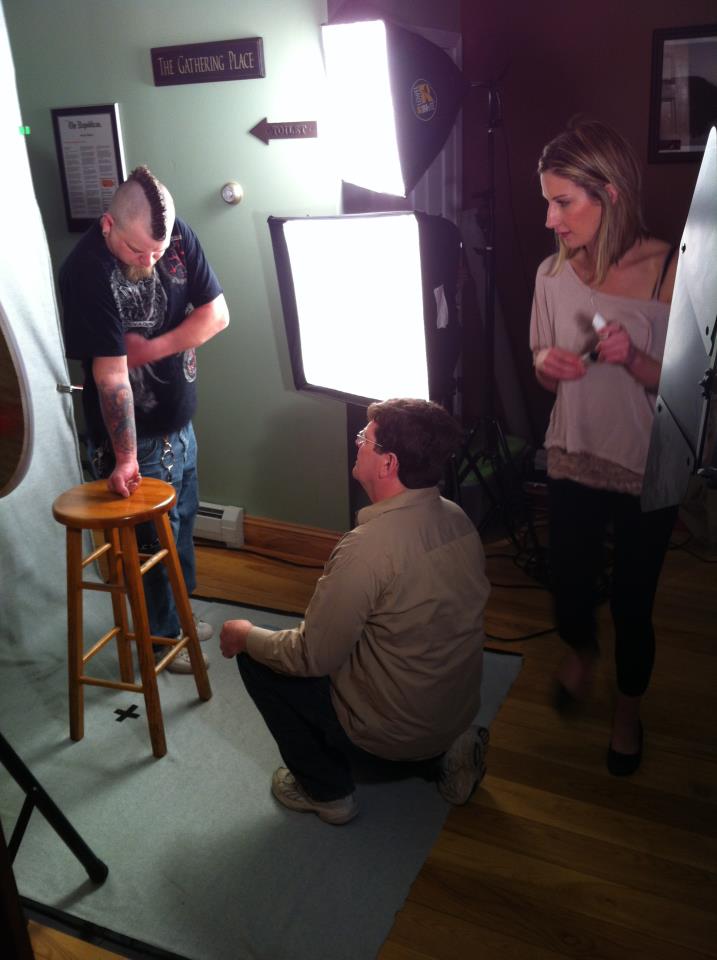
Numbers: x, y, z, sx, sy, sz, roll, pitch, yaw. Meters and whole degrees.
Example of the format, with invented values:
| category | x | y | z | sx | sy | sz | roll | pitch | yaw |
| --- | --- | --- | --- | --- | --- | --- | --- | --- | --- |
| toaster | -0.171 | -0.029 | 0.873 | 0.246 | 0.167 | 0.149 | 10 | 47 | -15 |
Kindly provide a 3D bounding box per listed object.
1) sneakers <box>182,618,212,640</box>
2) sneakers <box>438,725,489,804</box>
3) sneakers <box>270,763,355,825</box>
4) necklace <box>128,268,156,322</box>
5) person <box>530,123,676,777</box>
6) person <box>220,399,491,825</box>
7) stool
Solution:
| category | x | y | z | sx | sy | sz | roll | pitch | yaw |
| --- | --- | --- | --- | --- | --- | --- | --- | --- | --- |
| sneakers | -0.552 | 0.495 | 2.573 | 0.109 | 0.049 | 0.063 | 7 | 13 | 43 |
| sneakers | 0.237 | 0.646 | 1.767 | 0.052 | 0.104 | 0.177 | 9 | 66 | 38 |
| sneakers | -0.119 | 0.740 | 1.789 | 0.198 | 0.099 | 0.087 | 25 | 26 | 33 |
| necklace | -0.612 | -0.520 | 2.114 | 0.031 | 0.125 | 0.120 | 21 | 29 | 37 |
| person | 0.551 | -0.029 | 1.724 | 0.182 | 1.437 | 0.479 | -9 | 23 | -4 |
| person | 0.021 | 0.277 | 1.761 | 0.487 | 0.956 | 0.536 | 4 | 13 | 13 |
| stool | -0.646 | 0.407 | 2.094 | 0.357 | 0.885 | 0.375 | -3 | 22 | -2 |
